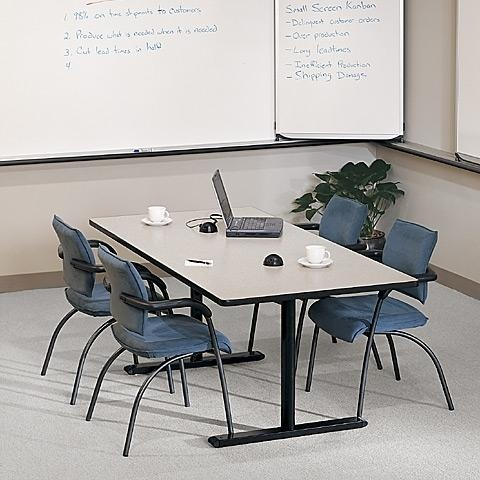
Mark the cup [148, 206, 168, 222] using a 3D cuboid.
[{"bbox_3d":[-0.491,-0.157,2.867,0.137,0.082,0.101,1,16,-7],"label":"cup"}]

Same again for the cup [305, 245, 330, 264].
[{"bbox_3d":[0.315,0.064,1.981,0.105,0.062,0.079,2,11,-1],"label":"cup"}]

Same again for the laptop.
[{"bbox_3d":[0.051,-0.262,2.693,0.446,0.318,0.472,-3,12,-4],"label":"laptop"}]

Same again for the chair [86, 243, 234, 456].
[{"bbox_3d":[-0.324,0.421,1.967,0.532,0.673,0.459,1,5,-37],"label":"chair"}]

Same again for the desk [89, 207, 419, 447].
[{"bbox_3d":[0.109,0.420,2.249,0.770,0.546,1.409,0,2,-12],"label":"desk"}]

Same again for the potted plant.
[{"bbox_3d":[0.820,-0.274,3.702,0.688,0.705,0.747,-15,27,-23],"label":"potted plant"}]
